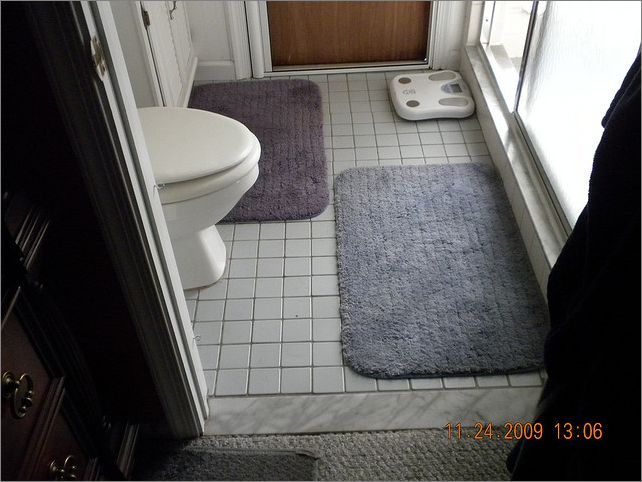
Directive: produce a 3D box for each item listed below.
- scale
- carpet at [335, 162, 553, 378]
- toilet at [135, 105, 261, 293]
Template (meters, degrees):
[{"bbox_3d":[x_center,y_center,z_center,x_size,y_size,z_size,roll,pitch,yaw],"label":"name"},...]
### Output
[{"bbox_3d":[0.536,-0.710,2.240,0.382,0.083,0.350,-3,45,1],"label":"scale"},{"bbox_3d":[0.393,0.041,1.624,0.640,0.010,0.995,-5,43,4],"label":"carpet"},{"bbox_3d":[-0.364,-0.165,1.555,0.550,0.504,0.432,0,47,-8],"label":"toilet"}]
